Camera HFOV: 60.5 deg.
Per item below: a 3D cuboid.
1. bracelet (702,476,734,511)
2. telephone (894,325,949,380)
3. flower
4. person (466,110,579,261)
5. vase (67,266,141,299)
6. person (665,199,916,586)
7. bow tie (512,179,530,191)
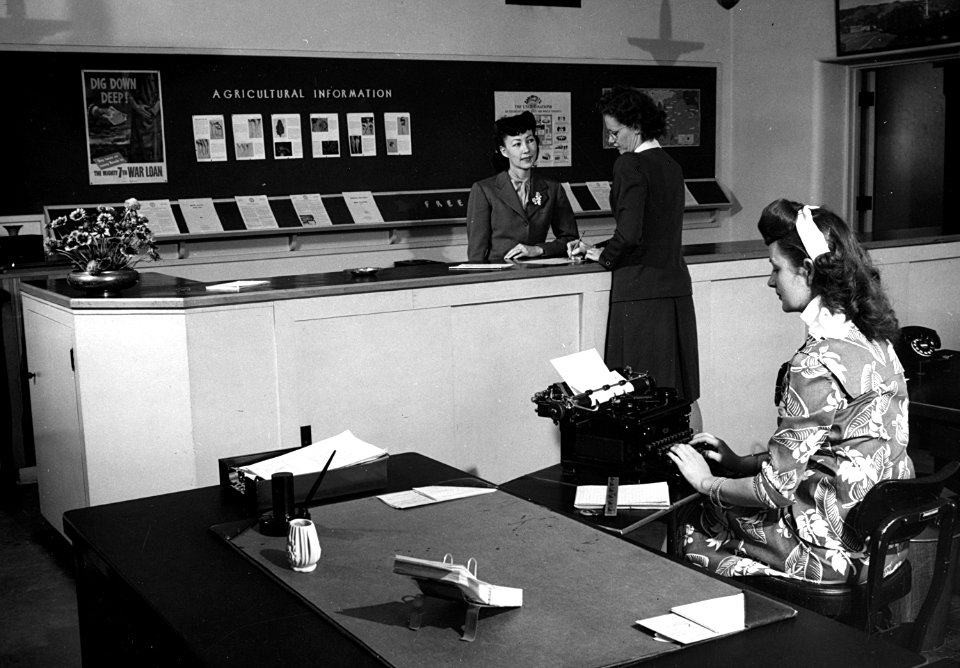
[{"bbox_3d":[0.807,0.538,2.804,0.109,0.106,0.039,7,-1,-33],"label":"bracelet"},{"bbox_3d":[2.518,0.112,4.698,0.279,0.352,0.191,-6,10,-27],"label":"telephone"},{"bbox_3d":[-2.157,-0.555,4.610,0.578,0.381,0.598,5,10,22],"label":"flower"},{"bbox_3d":[0.279,-0.792,5.060,0.743,1.091,0.617,-3,13,-13],"label":"person"},{"bbox_3d":[-1.810,-0.249,3.949,0.198,0.090,0.201,-1,4,39],"label":"vase"},{"bbox_3d":[1.101,0.146,2.928,0.841,1.213,0.739,-2,8,11],"label":"person"},{"bbox_3d":[0.258,-0.910,5.041,0.122,0.052,0.056,-6,12,-31],"label":"bow tie"}]
